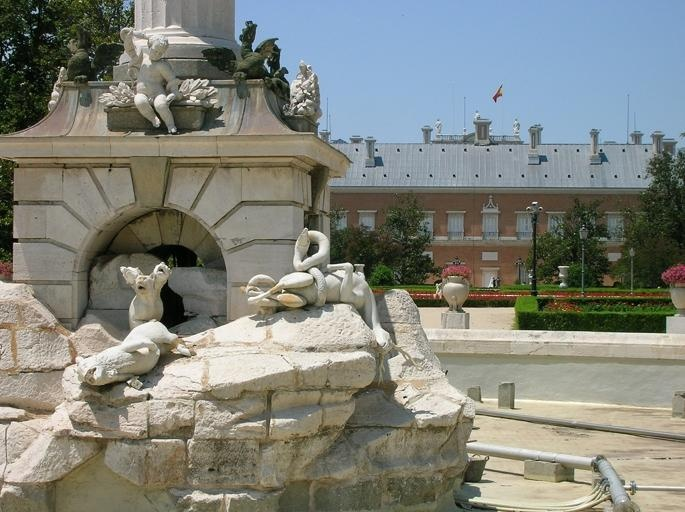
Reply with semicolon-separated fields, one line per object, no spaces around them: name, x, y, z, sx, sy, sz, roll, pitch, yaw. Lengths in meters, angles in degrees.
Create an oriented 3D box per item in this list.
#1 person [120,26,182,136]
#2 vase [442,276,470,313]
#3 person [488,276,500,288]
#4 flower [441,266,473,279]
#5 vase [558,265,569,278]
person;-2.902;-2.656;19.647;0.924;1.511;0.526;4;8;-4
vase;2.707;0.913;32.205;0.774;0.867;0.799;2;-8;-14
person;7.984;1.324;68.829;0.434;0.573;1.428;-1;-4;6
flower;2.832;0.356;32.337;0.453;0.253;0.411;-1;2;-16
vase;10.465;0.688;61.796;0.528;0.603;0.518;1;-7;-1
